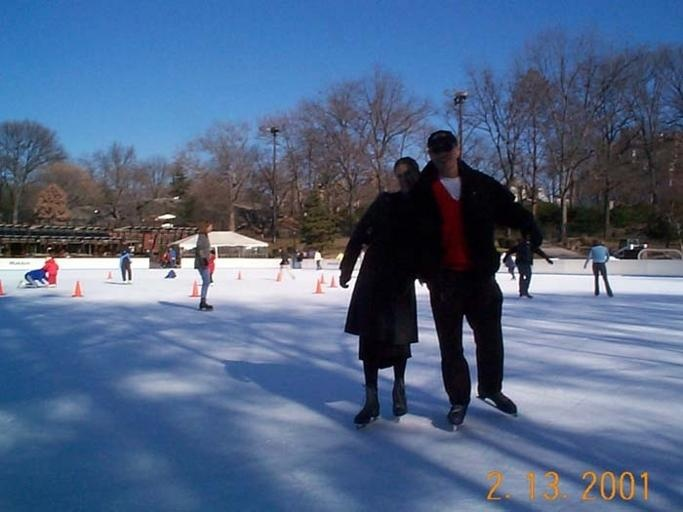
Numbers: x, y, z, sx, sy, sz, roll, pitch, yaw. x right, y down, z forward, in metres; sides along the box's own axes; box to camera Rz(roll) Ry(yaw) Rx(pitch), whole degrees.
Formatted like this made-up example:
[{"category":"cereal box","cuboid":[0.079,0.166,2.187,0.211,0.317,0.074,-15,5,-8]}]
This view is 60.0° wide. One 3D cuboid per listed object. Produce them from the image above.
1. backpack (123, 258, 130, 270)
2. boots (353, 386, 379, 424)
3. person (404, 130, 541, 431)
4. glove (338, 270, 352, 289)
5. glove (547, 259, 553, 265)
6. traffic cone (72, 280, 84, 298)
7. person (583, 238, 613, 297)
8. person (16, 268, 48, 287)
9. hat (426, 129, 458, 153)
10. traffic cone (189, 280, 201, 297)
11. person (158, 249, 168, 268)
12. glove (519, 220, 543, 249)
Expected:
[{"category":"backpack","cuboid":[-7.232,0.183,19.865,0.241,0.385,0.457,-2,2,-23]},{"category":"boots","cuboid":[0.192,1.176,4.772,0.133,0.294,0.306,9,12,34]},{"category":"person","cuboid":[1.031,0.159,4.799,0.937,2.327,0.363,-1,2,5]},{"category":"glove","cuboid":[0.033,0.179,4.792,0.096,0.138,0.036,-7,-2,41]},{"category":"glove","cuboid":[6.098,0.128,17.307,0.225,0.077,0.233,0,-12,2]},{"category":"traffic cone","cuboid":[-7.201,0.873,16.169,0.348,0.498,0.367,1,0,-13]},{"category":"person","cuboid":[6.713,0.289,15.403,0.613,1.465,3.848,-1,2,23]},{"category":"person","cuboid":[-9.170,0.625,17.717,0.632,0.531,1.072,-2,2,-29]},{"category":"hat","cuboid":[0.808,-0.908,4.740,0.240,0.186,0.172,-1,1,11]},{"category":"traffic cone","cuboid":[-4.138,0.891,16.719,0.303,0.399,0.302,-1,5,-6]},{"category":"person","cuboid":[-11.792,0.221,39.442,0.409,0.892,1.985,-2,1,-16]},{"category":"glove","cuboid":[1.556,-0.172,4.773,0.164,0.242,0.070,13,26,36]}]
